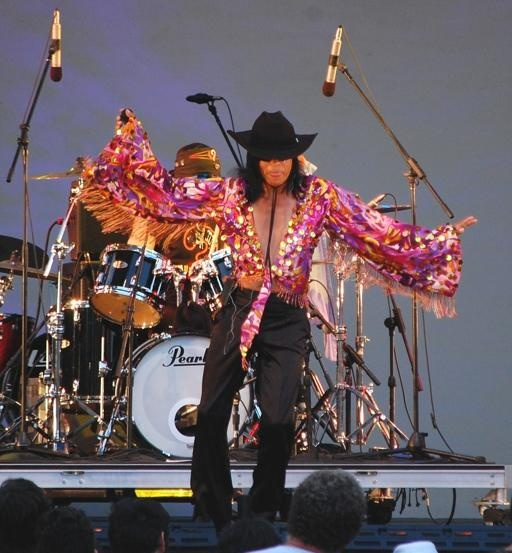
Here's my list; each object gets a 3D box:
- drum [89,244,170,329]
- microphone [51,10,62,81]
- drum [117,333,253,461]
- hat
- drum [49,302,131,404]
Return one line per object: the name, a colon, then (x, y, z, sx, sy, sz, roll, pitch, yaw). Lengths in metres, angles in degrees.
drum: (-0.789, 0.053, 10.100, 0.519, 0.346, 0.457, 10, -27, 1)
microphone: (-1.156, -1.328, 9.344, 0.077, 0.393, 0.237, 4, -13, -7)
drum: (-0.425, 0.689, 9.392, 0.722, 0.638, 0.417, 15, -4, -10)
hat: (0.073, -0.838, 9.667, 0.586, 0.211, 0.583, 0, 21, -4)
drum: (-1.103, 0.503, 10.577, 0.591, 0.685, 0.612, 4, -10, -23)
